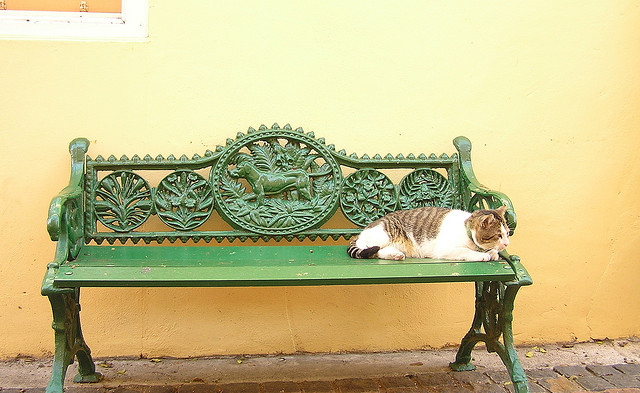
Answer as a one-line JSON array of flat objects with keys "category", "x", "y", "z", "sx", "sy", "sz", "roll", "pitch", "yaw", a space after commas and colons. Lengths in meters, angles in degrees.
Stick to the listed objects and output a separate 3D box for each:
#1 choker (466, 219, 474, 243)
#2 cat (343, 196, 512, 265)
[{"category": "choker", "x": 1.221, "y": 0.277, "z": 4.845, "sx": 0.029, "sy": 0.166, "sz": 0.067, "roll": -7, "pitch": 9, "yaw": -15}, {"category": "cat", "x": 0.895, "y": 0.329, "z": 4.879, "sx": 0.962, "sy": 0.343, "sz": 0.676, "roll": -5, "pitch": -3, "yaw": 27}]
